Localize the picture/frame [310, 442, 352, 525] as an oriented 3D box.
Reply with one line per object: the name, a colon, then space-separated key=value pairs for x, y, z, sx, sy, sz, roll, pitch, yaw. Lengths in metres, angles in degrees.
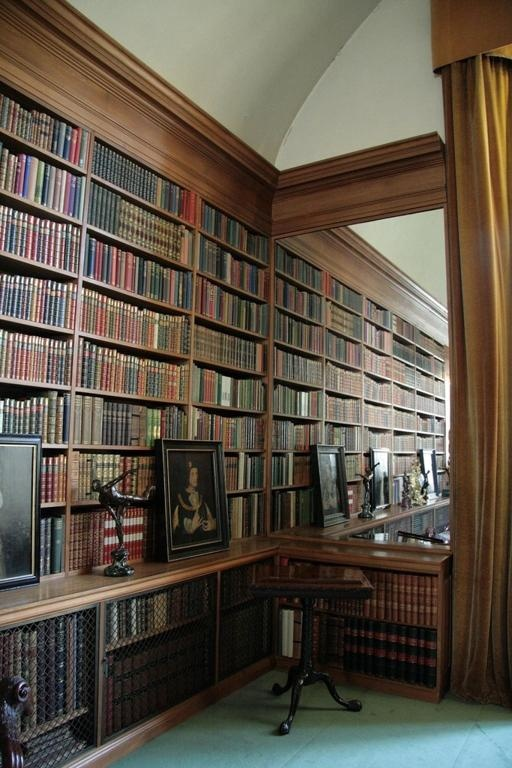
picture/frame: x=0.537 y=0.752 z=4.025 sx=0.066 sy=0.697 sz=0.494 roll=-10 pitch=-13 yaw=35

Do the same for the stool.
stool: x=0.274 y=1.237 z=2.615 sx=0.489 sy=0.703 sz=0.935 roll=-1 pitch=-10 yaw=7

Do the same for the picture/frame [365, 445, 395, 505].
picture/frame: x=0.993 y=0.749 z=4.428 sx=0.050 sy=0.553 sz=0.406 roll=-6 pitch=-9 yaw=37

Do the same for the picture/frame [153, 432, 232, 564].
picture/frame: x=-0.349 y=0.614 z=2.875 sx=0.072 sy=0.599 sz=0.583 roll=-12 pitch=-14 yaw=27
